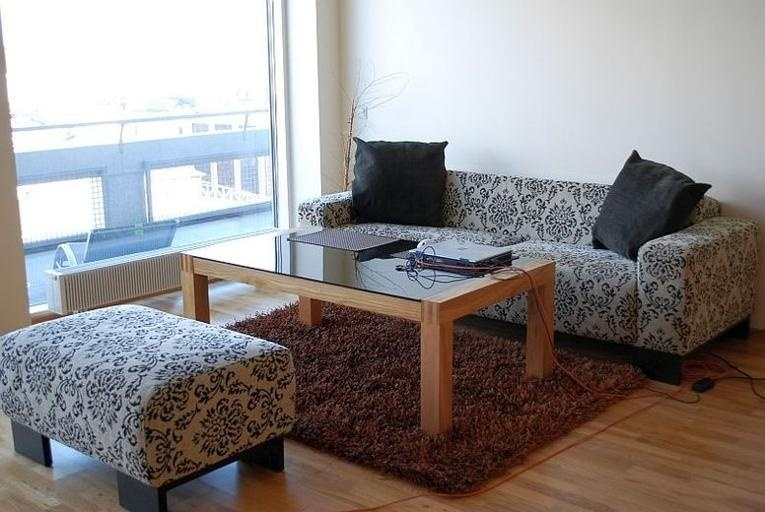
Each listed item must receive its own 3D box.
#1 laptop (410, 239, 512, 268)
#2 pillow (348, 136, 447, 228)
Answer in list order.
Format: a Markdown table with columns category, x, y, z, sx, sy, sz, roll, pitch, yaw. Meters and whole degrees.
| category | x | y | z | sx | sy | sz | roll | pitch | yaw |
| --- | --- | --- | --- | --- | --- | --- | --- | --- | --- |
| laptop | 0.413 | -0.011 | 3.062 | 0.241 | 0.050 | 0.259 | 11 | 17 | 39 |
| pillow | 0.123 | -0.530 | 4.381 | 0.788 | 0.660 | 0.286 | 2 | -3 | 6 |
